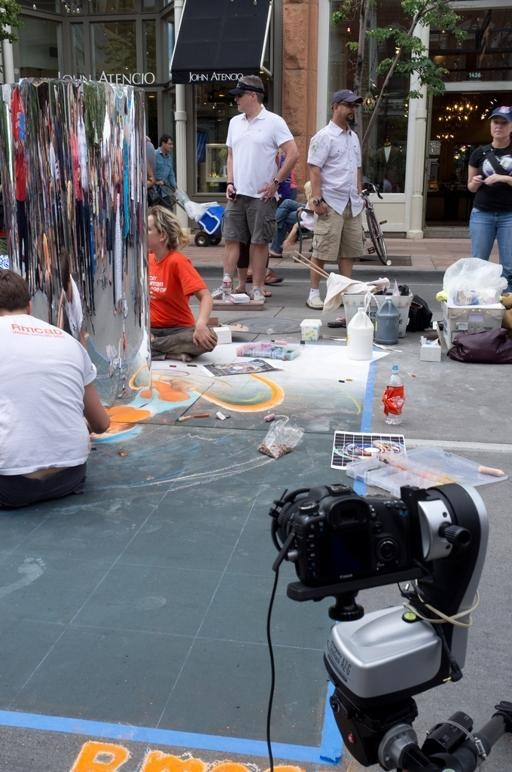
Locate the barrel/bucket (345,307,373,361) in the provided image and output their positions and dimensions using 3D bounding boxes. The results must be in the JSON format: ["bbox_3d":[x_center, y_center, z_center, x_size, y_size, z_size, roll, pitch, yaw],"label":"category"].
[{"bbox_3d":[0.961,-0.484,5.371,0.230,0.464,0.182,3,16,10],"label":"barrel/bucket"}]

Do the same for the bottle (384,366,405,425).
[{"bbox_3d":[0.931,0.023,3.895,0.135,0.401,0.311,3,16,13],"label":"bottle"}]

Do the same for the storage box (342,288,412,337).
[{"bbox_3d":[1.266,-0.772,6.033,0.613,0.412,0.440,0,15,8],"label":"storage box"}]

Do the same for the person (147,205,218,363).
[{"bbox_3d":[-0.653,-0.845,5.008,0.541,1.348,0.656,-3,16,-11],"label":"person"}]

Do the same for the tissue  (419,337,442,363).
[{"bbox_3d":[1.615,-0.334,5.406,0.273,0.289,0.214,0,6,5],"label":"tissue "}]

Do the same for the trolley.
[{"bbox_3d":[-1.525,-3.954,13.528,1.299,1.331,0.820,2,20,1],"label":"trolley"}]

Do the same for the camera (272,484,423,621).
[{"bbox_3d":[0.148,0.288,1.041,0.203,0.192,0.256,-5,6,-16],"label":"camera"}]

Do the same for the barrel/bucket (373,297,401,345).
[{"bbox_3d":[1.346,-0.676,5.933,0.247,0.474,0.267,0,16,0],"label":"barrel/bucket"}]
